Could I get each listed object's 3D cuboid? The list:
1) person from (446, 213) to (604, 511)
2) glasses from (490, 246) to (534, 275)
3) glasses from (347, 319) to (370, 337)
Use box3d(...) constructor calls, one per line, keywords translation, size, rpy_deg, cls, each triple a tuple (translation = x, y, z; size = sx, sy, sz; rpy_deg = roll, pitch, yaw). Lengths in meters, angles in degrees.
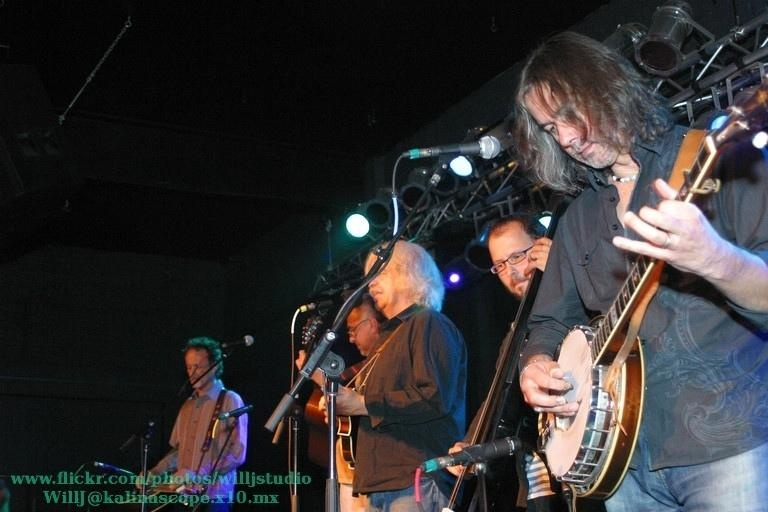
box3d(translation=(1.002, 0.633, 4.968), size=(0.266, 2.148, 0.790), rpy_deg=(14, -8, -21), cls="person")
box3d(translation=(0.947, 0.028, 5.169), size=(0.208, 0.062, 0.207), rpy_deg=(-42, -2, 40), cls="glasses")
box3d(translation=(-0.276, 0.781, 7.581), size=(0.191, 0.066, 0.193), rpy_deg=(-13, -4, -23), cls="glasses")
